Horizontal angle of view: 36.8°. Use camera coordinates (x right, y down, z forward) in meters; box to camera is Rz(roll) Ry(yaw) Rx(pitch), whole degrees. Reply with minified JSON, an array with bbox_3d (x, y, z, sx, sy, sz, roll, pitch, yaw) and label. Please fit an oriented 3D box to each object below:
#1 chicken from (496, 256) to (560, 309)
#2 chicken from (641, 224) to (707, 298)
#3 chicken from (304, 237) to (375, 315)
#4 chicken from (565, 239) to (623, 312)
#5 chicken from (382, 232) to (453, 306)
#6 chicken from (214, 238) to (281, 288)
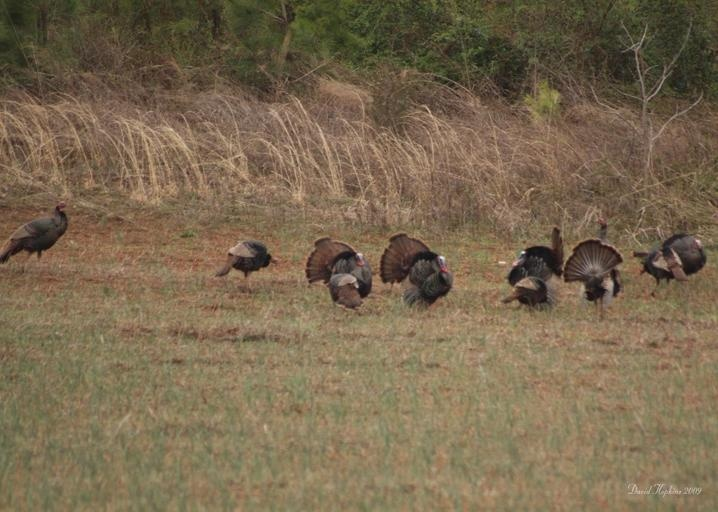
[{"bbox_3d":[2.795,0.438,17.589,0.820,0.787,0.773,2,4,8],"label":"chicken"},{"bbox_3d":[5.219,0.069,17.998,1.035,0.837,0.603,3,4,22],"label":"chicken"},{"bbox_3d":[-0.310,0.296,17.476,1.191,1.127,0.713,4,5,43],"label":"chicken"},{"bbox_3d":[3.687,0.355,17.083,0.887,1.245,0.440,2,3,12],"label":"chicken"},{"bbox_3d":[0.911,0.230,17.603,0.609,1.138,1.313,-1,4,-36],"label":"chicken"},{"bbox_3d":[-1.878,0.139,18.254,0.905,0.759,1.398,1,4,1],"label":"chicken"}]
